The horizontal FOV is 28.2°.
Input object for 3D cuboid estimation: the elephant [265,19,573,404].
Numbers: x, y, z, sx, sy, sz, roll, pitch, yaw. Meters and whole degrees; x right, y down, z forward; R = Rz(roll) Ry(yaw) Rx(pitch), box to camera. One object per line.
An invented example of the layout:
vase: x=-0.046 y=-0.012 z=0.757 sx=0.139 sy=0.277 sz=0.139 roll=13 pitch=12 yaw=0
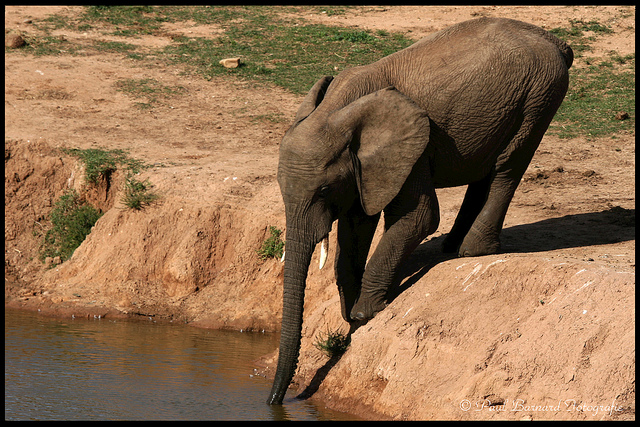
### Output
elephant: x=2.152 y=-0.943 z=32.102 sx=12.245 sy=6.120 sz=4.055 roll=-29 pitch=31 yaw=-34
